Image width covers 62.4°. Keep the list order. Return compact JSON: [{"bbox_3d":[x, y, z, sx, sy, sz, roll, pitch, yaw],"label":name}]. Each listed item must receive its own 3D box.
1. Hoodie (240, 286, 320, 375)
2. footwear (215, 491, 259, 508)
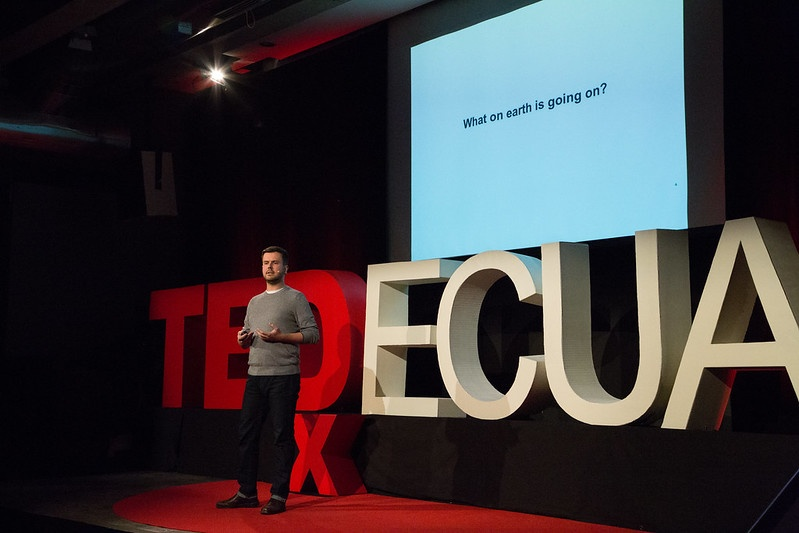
[{"bbox_3d":[-0.905,0.467,4.730,0.592,0.661,0.371,-4,-11,24],"label":"Hoodie"},{"bbox_3d":[-1.129,1.659,4.655,0.285,0.139,0.129,5,-11,-1],"label":"footwear"}]
